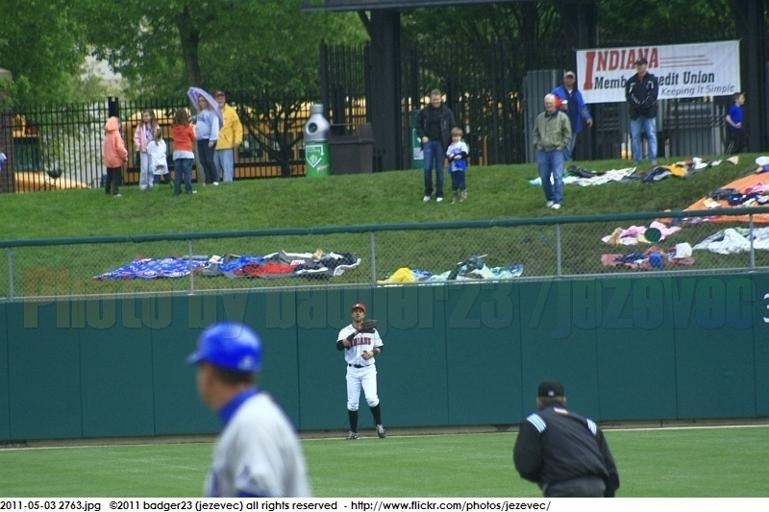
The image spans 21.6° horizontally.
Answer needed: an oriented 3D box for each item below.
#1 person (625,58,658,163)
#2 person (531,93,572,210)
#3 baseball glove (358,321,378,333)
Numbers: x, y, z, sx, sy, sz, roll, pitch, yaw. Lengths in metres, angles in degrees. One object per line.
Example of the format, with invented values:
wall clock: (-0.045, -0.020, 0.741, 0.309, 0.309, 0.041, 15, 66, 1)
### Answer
person: (7.686, -4.118, 60.430, 0.913, 3.095, 1.422, -2, 4, 6)
person: (4.837, -2.835, 58.341, 1.044, 3.269, 1.068, -3, 4, 4)
baseball glove: (-0.430, 1.977, 54.206, 0.317, 0.325, 0.129, 3, 19, 3)
